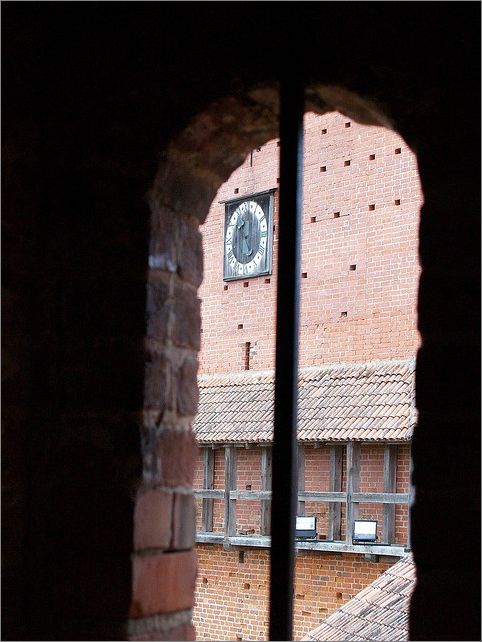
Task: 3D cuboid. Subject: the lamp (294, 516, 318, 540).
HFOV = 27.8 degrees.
[{"bbox_3d":[0.712,2.264,10.676,0.210,0.305,0.691,0,-17,2],"label":"lamp"}]
